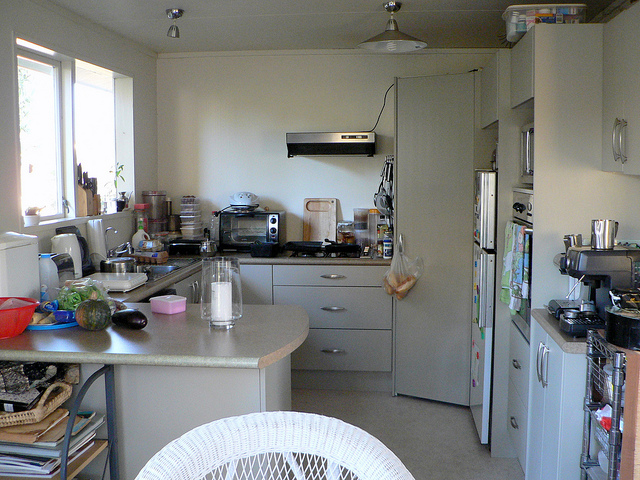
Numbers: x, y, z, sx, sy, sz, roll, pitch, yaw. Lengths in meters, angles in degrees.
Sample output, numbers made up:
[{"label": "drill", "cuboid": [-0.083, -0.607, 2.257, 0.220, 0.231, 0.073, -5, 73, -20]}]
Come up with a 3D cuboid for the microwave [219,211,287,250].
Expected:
[{"label": "microwave", "cuboid": [-0.630, -0.070, 4.524, 0.540, 0.357, 0.375, 1, -1, -1]}]

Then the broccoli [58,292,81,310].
[{"label": "broccoli", "cuboid": [-1.198, 0.296, 2.491, 0.074, 0.033, 0.097, 5, -17, -20]}]

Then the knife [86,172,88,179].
[{"label": "knife", "cuboid": [-1.768, -0.496, 3.934, 0.006, 0.047, 0.027, -1, 7, -12]}]

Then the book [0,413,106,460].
[{"label": "book", "cuboid": [-1.122, 0.809, 2.141, 0.230, 0.036, 0.249, 1, 2, 14]}]

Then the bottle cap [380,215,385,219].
[{"label": "bottle cap", "cuboid": [0.539, -0.209, 4.481, 0.028, 0.023, 0.041, 5, 13, 45]}]

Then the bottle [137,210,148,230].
[{"label": "bottle", "cuboid": [-1.525, -0.183, 4.447, 0.062, 0.170, 0.134, 0, 6, -6]}]

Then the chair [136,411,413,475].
[{"label": "chair", "cuboid": [-0.122, 0.666, 1.586, 0.762, 0.167, 0.290, 2, 7, 8]}]

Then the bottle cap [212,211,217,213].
[{"label": "bottle cap", "cuboid": [-0.959, -0.263, 4.696, 0.031, 0.022, 0.031, 1, 2, 34]}]

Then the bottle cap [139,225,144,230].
[{"label": "bottle cap", "cuboid": [-1.502, -0.114, 4.362, 0.035, 0.042, 0.036, 0, 2, 15]}]

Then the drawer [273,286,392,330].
[{"label": "drawer", "cuboid": [0.189, 0.521, 4.132, 0.618, 0.303, 0.374, 0, 0, 7]}]

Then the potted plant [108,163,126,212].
[{"label": "potted plant", "cuboid": [-1.720, -0.460, 4.405, 0.134, 0.405, 0.364, -2, 7, -21]}]

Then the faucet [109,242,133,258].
[{"label": "faucet", "cuboid": [-1.564, 0.064, 4.075, 0.170, 0.109, 0.458, -2, 7, -21]}]
